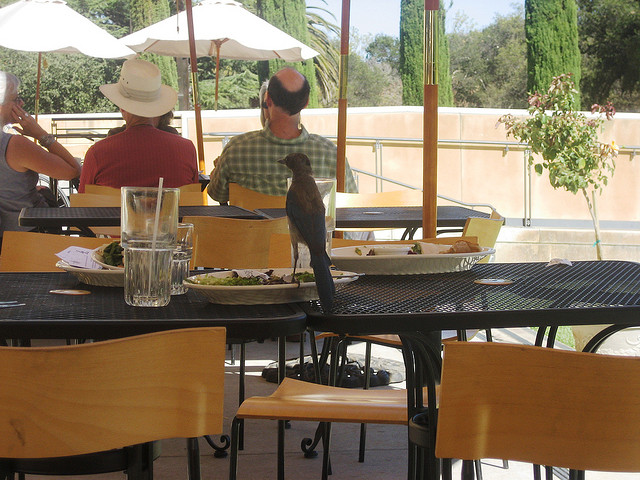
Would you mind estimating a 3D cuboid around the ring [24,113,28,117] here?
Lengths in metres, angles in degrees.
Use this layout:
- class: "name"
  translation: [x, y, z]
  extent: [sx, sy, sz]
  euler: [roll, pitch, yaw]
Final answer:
- class: "ring"
  translation: [-1.758, -0.747, 4.487]
  extent: [0.014, 0.017, 0.044]
  euler: [3, 1, -8]

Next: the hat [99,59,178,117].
- class: "hat"
  translation: [-1.122, -0.998, 4.653]
  extent: [0.490, 0.233, 0.553]
  euler: [-9, 35, -33]

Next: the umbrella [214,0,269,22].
- class: "umbrella"
  translation: [-0.902, -2.540, 8.187]
  extent: [0.488, 0.240, 0.384]
  euler: [-1, 5, -6]

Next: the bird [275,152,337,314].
- class: "bird"
  translation: [-0.031, -0.029, 1.784]
  extent: [0.093, 0.358, 0.329]
  euler: [-1, 5, -9]

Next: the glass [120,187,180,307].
- class: "glass"
  translation: [-0.412, 0.015, 1.819]
  extent: [0.139, 0.298, 0.153]
  euler: [-1, 4, -13]

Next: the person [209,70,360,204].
- class: "person"
  translation: [-0.211, -0.555, 4.553]
  extent: [0.951, 0.967, 0.542]
  euler: [-6, 24, -14]
